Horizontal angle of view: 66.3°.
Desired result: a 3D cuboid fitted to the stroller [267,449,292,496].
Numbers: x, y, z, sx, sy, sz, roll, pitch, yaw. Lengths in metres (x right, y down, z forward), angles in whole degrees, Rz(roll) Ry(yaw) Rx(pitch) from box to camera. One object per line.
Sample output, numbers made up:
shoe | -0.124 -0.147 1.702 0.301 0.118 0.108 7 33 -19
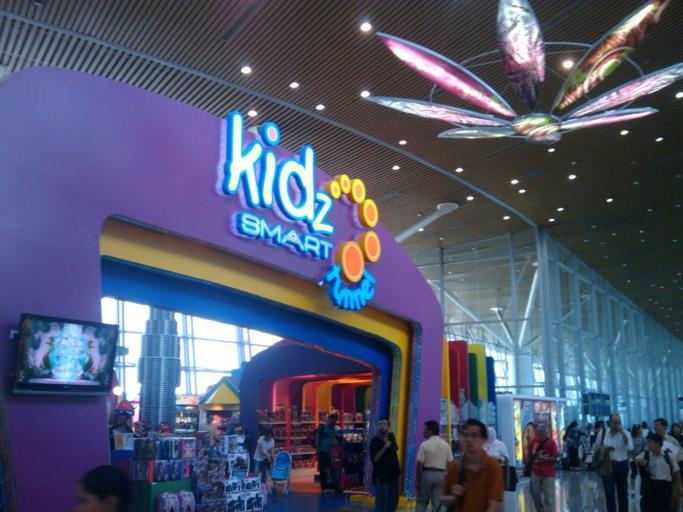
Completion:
stroller | -1.273 4.494 10.974 0.487 0.773 0.525 -4 -6 42

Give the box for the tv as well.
tv | -3.063 1.072 5.651 0.871 0.770 0.116 12 -17 -39

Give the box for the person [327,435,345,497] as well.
person | -0.089 4.376 11.044 0.272 1.159 0.247 2 -17 0
